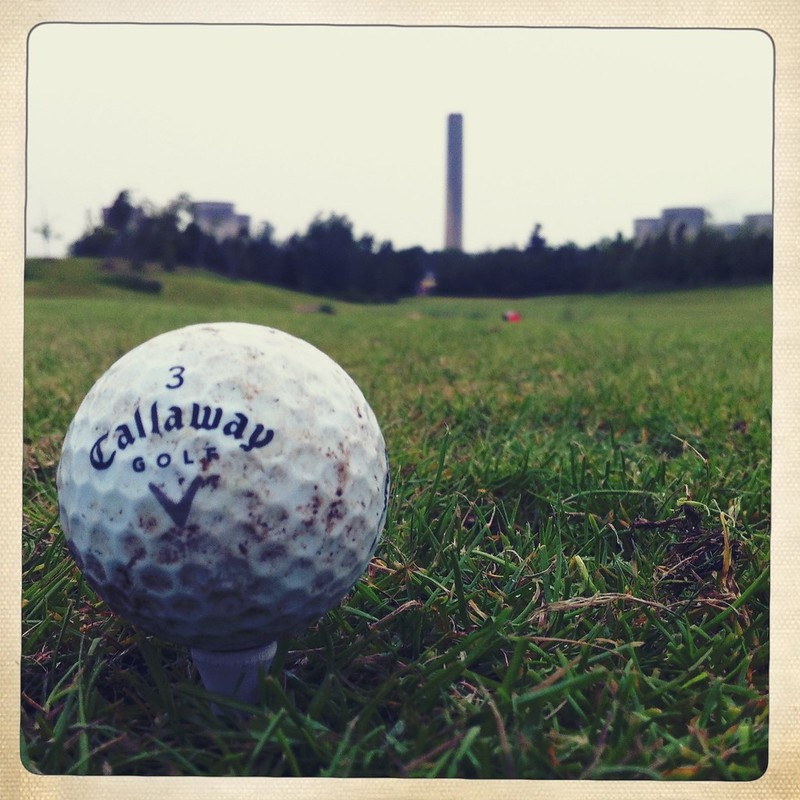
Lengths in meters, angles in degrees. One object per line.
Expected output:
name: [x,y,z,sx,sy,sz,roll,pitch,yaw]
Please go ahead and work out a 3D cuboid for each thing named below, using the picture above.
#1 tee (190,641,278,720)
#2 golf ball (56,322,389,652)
tee: [-0.372,0.597,2.208,0.182,0.140,0.144,4,6,-6]
golf ball: [-0.373,0.186,2.131,0.679,0.661,0.366,3,6,-16]
